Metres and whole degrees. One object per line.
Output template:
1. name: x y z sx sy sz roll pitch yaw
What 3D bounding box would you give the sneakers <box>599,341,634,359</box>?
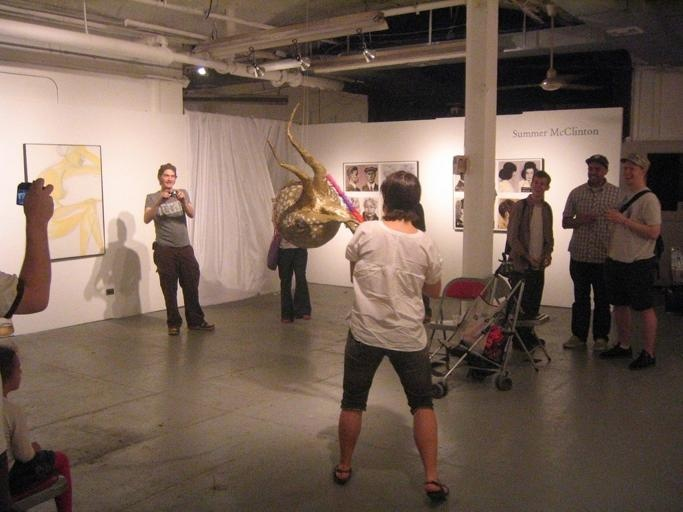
1. sneakers: 3.370 1.163 6.590 0.491 0.201 0.170 1 -3 3

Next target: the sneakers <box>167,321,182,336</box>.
1. sneakers: -2.454 1.036 7.786 0.190 0.180 0.329 -4 11 -18

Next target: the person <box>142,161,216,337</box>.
1. person: -2.484 -0.135 7.914 0.886 2.448 0.762 -1 10 -3

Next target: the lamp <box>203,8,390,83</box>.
1. lamp: -0.787 -3.450 8.124 3.427 0.309 0.670 3 34 29

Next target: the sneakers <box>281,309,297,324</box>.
1. sneakers: -0.856 0.930 8.304 0.182 0.193 0.141 -2 10 -7

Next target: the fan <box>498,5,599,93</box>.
1. fan: 3.625 -3.545 9.743 1.923 1.234 3.067 5 12 27

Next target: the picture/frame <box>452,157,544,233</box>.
1. picture/frame: 2.364 -0.941 7.793 1.427 1.224 0.096 1 6 18

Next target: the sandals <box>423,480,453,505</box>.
1. sandals: 0.658 1.626 3.661 0.095 0.091 0.238 4 19 -29

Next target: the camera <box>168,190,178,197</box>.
1. camera: -2.443 -0.917 7.711 0.098 0.097 0.077 -2 11 -10

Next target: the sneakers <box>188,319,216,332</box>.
1. sneakers: -2.104 1.026 7.947 0.351 0.140 0.162 0 1 -3

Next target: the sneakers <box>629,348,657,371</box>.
1. sneakers: 3.464 1.189 6.189 0.399 0.172 0.156 -6 5 -27

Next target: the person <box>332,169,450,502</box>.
1. person: 0.342 0.553 3.710 0.830 2.250 0.407 1 11 11

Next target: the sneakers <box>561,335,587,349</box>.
1. sneakers: 3.041 1.119 6.991 0.346 0.155 0.139 1 -1 -28

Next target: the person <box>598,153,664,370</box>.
1. person: 3.416 0.052 6.200 0.618 2.471 0.842 5 12 30

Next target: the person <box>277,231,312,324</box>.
1. person: -0.769 0.364 8.449 0.518 1.274 0.465 -5 11 -21
